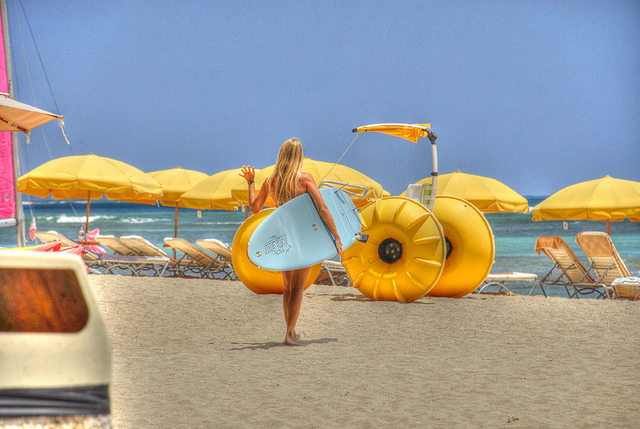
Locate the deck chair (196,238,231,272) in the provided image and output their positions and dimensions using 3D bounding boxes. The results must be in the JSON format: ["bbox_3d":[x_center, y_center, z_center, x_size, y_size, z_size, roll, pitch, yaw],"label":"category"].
[{"bbox_3d":[-2.472,0.873,15.507,0.503,0.603,0.969,5,9,44],"label":"deck chair"}]

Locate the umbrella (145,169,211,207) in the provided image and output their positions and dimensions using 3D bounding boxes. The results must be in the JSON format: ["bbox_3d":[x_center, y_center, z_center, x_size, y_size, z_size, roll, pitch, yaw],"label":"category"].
[{"bbox_3d":[-3.659,-0.788,18.148,1.230,0.865,1.183,1,-1,-26],"label":"umbrella"}]

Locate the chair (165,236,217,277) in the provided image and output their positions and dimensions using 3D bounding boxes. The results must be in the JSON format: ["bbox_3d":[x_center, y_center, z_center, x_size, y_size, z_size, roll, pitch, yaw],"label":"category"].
[{"bbox_3d":[-2.927,0.941,16.199,0.727,0.990,1.432,-2,-2,37],"label":"chair"}]

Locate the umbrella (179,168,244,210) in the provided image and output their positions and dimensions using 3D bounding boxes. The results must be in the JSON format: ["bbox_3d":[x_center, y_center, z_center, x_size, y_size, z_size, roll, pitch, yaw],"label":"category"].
[{"bbox_3d":[-2.433,-0.517,16.259,1.359,0.642,1.382,-1,0,10],"label":"umbrella"}]

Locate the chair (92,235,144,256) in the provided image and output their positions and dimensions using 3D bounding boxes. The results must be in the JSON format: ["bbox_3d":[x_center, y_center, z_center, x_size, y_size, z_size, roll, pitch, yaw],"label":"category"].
[{"bbox_3d":[-4.626,0.699,16.090,0.437,0.540,0.869,0,-2,35],"label":"chair"}]

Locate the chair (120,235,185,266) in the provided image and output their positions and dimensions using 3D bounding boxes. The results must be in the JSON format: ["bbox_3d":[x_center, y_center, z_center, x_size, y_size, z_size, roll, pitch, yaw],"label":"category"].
[{"bbox_3d":[-3.803,0.804,16.057,1.395,0.612,0.522,-1,2,-19],"label":"chair"}]

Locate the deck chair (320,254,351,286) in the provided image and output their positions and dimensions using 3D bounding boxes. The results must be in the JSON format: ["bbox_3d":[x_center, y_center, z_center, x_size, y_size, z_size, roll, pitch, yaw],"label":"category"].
[{"bbox_3d":[0.291,1.183,14.264,0.532,0.699,1.906,1,4,0],"label":"deck chair"}]

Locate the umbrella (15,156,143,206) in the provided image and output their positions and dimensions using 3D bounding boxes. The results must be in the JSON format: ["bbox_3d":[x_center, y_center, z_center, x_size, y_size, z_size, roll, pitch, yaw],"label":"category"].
[{"bbox_3d":[-5.040,-0.707,14.975,2.367,1.051,2.810,0,4,-18],"label":"umbrella"}]

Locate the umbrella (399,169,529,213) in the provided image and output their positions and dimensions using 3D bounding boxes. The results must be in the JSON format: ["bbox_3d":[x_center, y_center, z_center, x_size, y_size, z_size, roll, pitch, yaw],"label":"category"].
[{"bbox_3d":[3.715,-0.499,16.290,2.028,0.858,1.477,2,4,12],"label":"umbrella"}]

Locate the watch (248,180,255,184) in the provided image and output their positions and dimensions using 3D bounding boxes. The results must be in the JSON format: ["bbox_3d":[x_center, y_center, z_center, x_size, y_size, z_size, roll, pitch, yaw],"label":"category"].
[{"bbox_3d":[-0.868,-0.413,8.895,0.062,0.048,0.058,1,4,7],"label":"watch"}]

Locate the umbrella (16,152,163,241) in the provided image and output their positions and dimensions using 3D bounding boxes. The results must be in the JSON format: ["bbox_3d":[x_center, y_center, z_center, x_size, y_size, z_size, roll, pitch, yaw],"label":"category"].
[{"bbox_3d":[-4.770,-0.419,14.554,2.523,1.720,2.378,3,5,25],"label":"umbrella"}]

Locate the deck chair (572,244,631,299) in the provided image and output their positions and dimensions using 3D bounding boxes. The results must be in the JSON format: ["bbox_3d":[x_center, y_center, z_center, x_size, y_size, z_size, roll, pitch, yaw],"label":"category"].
[{"bbox_3d":[6.162,1.154,14.961,1.413,1.644,0.929,-1,0,-44],"label":"deck chair"}]

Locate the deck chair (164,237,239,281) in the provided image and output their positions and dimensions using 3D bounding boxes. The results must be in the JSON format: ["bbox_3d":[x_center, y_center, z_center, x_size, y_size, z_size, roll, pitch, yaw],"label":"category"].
[{"bbox_3d":[-3.296,0.981,15.936,2.874,1.139,0.892,1,-3,-20],"label":"deck chair"}]

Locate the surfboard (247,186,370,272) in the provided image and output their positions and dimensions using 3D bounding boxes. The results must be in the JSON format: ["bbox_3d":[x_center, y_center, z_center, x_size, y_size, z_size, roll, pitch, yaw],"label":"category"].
[{"bbox_3d":[-0.106,0.184,8.717,0.688,1.020,1.563,5,6,44],"label":"surfboard"}]
